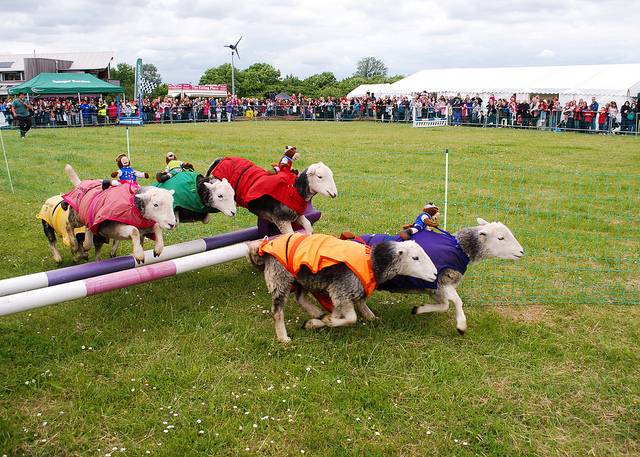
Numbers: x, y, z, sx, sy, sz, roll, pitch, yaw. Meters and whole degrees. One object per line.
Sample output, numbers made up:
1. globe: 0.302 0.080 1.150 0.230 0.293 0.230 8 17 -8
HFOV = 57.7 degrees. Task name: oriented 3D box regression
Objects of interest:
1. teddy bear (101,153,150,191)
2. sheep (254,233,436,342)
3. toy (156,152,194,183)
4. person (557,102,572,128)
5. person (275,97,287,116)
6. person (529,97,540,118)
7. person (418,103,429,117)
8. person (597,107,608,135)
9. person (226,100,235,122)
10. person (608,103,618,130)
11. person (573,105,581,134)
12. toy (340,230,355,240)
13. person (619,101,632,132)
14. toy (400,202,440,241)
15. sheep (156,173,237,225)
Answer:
1. teddy bear: -3.369 -0.863 10.321 0.678 0.967 0.315 -5 -14 -44
2. sheep: 0.242 0.767 8.068 2.247 1.398 0.830 -2 15 -7
3. toy: -2.541 -0.977 9.934 0.587 0.261 0.376 -6 -5 8
4. person: 12.037 -5.567 28.521 0.407 1.194 0.821 -4 15 -16
5. person: -2.968 -9.015 43.421 0.878 0.927 2.499 -3 16 -12
6. person: 11.286 -6.364 30.584 0.450 0.922 1.109 4 15 16
7. person: 6.286 -7.271 35.303 0.656 1.214 0.288 0 16 8
8. person: 13.208 -5.077 27.184 0.347 1.112 0.837 5 16 21
9. person: -6.118 -8.083 39.619 0.447 1.193 1.654 -3 15 -9
10. person: 13.497 -5.214 26.854 0.332 1.177 0.380 7 16 26
11. person: 12.386 -5.350 28.047 0.297 1.209 0.625 3 15 12
12. toy: 0.395 0.111 8.383 0.131 0.096 0.131 8 36 -32
13. person: 13.979 -5.074 26.503 0.650 1.213 0.500 12 19 39
14. toy: 1.474 -0.097 8.491 0.625 0.555 0.376 -9 5 7
15. sheep: -2.037 -0.453 9.323 1.363 0.545 0.661 20 24 28
